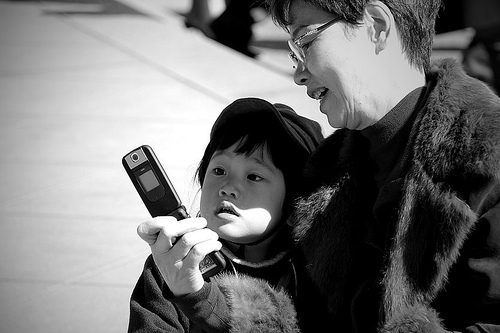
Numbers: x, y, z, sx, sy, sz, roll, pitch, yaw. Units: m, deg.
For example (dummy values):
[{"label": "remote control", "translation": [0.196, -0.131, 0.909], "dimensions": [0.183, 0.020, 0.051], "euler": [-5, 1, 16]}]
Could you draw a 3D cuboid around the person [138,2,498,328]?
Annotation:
[{"label": "person", "translation": [0.352, -0.006, 2.209], "dimensions": [1.136, 1.274, 0.646], "euler": [-5, 11, 19]}]
